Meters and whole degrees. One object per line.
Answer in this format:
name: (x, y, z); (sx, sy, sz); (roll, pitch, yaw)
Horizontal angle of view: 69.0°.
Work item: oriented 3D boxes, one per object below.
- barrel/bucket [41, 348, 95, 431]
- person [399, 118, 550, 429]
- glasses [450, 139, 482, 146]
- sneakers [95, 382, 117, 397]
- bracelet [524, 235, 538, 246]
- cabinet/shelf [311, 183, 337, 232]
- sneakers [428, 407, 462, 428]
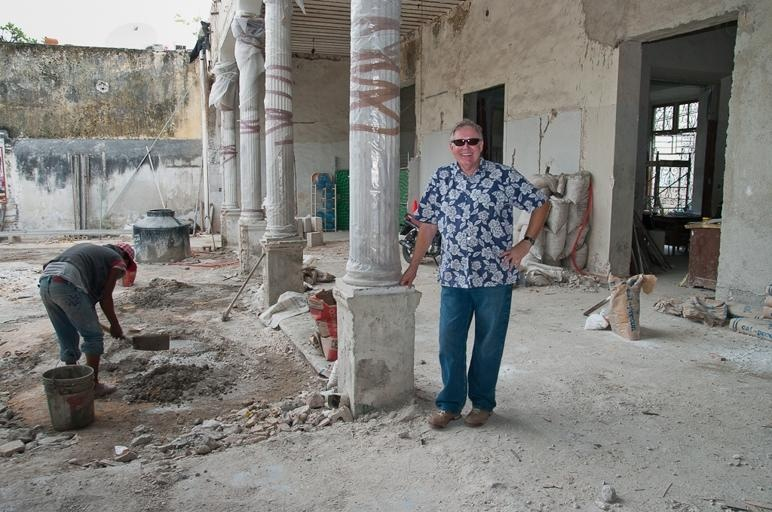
barrel/bucket: (-3.069, 1.395, 5.767); (0.551, 0.664, 0.593); (1, 4, 0)
person: (0.803, 0.311, 4.986); (1.146, 2.342, 0.443); (-1, 7, 4)
glasses: (0.685, -0.974, 4.795); (0.229, 0.061, 0.048); (-2, 6, 3)
sneakers: (-3.057, 1.456, 6.160); (0.199, 0.081, 0.112); (-1, 7, -8)
bracelet: (1.248, -0.154, 4.898); (0.102, 0.072, 0.128); (-1, 6, 11)
cabinet/shelf: (-2.054, -1.659, 19.094); (0.920, 1.658, 0.873); (0, -1, -7)
sneakers: (0.521, 1.438, 5.015); (0.267, 0.116, 0.128); (0, 7, -35)
